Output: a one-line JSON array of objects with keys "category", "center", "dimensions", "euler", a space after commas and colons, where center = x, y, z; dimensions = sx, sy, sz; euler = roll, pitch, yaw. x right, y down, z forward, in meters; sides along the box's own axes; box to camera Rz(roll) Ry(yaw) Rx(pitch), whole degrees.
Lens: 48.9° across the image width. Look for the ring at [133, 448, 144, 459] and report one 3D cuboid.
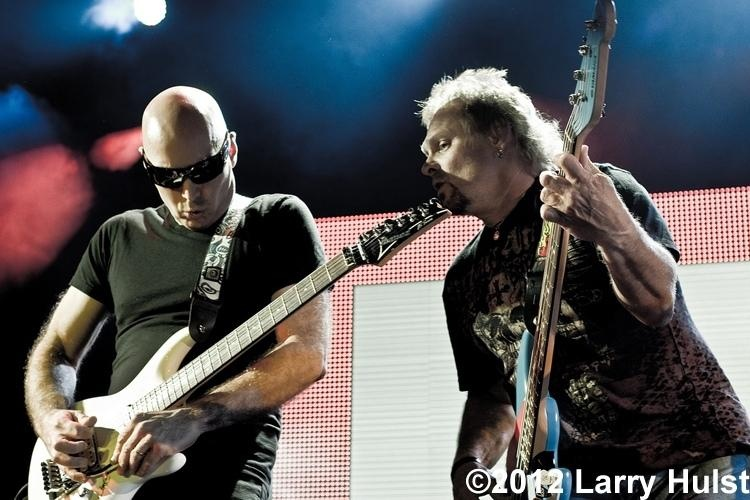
[{"category": "ring", "center": [-1.062, 0.920, 3.734], "dimensions": [0.035, 0.036, 0.008], "euler": [-38, 16, 17]}]
